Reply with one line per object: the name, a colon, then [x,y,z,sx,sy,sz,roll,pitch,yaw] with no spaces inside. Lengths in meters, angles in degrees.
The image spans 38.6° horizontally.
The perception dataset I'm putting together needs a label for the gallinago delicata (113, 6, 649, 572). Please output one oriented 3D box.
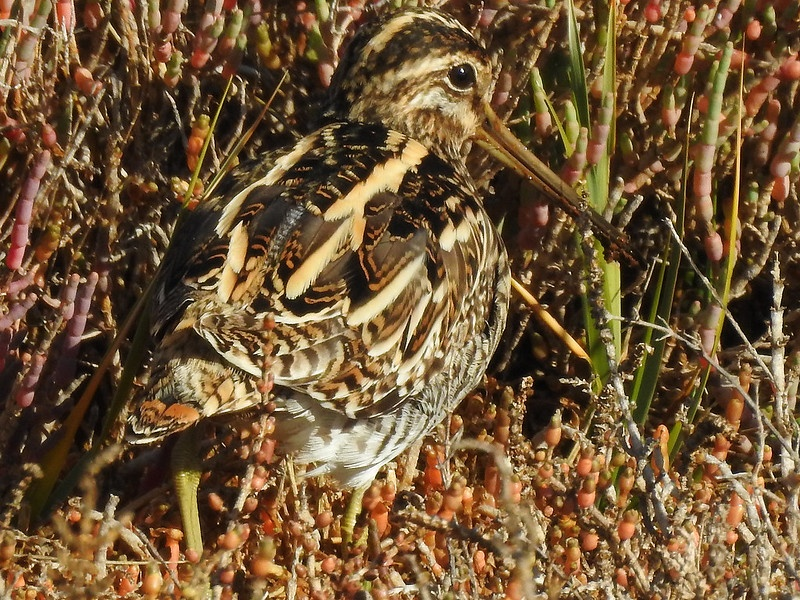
gallinago delicata: [-0.192,-0.260,4.464,1.141,1.769,2.258,4,7,36]
